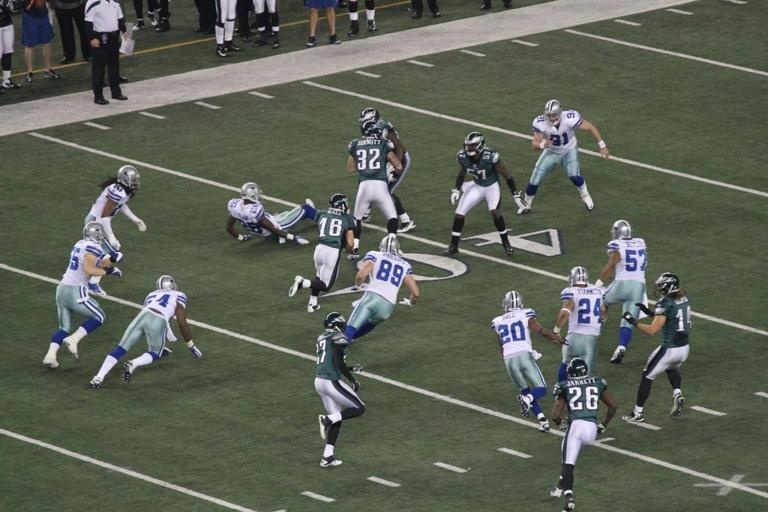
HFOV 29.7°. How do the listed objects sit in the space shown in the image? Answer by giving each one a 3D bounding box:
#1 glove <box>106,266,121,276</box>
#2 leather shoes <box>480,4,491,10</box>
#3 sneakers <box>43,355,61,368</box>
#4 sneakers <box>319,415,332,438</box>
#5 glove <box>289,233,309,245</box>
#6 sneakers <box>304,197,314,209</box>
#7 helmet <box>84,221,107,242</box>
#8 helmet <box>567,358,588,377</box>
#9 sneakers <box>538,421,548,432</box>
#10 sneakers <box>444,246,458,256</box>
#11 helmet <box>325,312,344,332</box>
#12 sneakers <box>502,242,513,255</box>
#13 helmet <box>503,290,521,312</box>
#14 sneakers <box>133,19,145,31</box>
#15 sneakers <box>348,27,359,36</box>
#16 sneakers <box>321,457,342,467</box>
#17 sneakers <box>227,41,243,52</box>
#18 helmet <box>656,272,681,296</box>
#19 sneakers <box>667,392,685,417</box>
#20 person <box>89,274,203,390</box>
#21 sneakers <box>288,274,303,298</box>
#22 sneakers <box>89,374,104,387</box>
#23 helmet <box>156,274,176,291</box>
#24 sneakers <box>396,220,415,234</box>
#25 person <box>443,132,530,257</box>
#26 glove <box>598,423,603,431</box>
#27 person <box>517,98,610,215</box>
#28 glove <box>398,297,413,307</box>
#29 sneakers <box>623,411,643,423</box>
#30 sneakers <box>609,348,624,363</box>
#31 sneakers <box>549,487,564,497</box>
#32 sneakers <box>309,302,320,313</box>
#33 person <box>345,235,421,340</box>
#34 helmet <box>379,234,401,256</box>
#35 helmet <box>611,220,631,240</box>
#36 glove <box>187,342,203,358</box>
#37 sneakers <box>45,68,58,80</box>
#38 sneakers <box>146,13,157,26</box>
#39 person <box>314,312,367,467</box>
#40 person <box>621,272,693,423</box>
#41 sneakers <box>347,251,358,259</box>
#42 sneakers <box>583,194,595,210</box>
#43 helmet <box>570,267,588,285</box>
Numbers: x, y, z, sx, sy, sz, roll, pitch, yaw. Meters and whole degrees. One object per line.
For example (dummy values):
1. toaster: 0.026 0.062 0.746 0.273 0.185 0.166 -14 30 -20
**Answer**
1. glove: -4.056 0.262 21.848 0.225 0.077 0.200 19 6 -17
2. leather shoes: 2.309 -5.701 33.279 0.207 0.162 0.261 1 14 2
3. sneakers: -4.872 1.536 21.298 0.216 0.234 0.309 -3 15 -13
4. sneakers: -0.799 2.295 19.529 0.197 0.318 0.125 -1 9 -1
5. glove: -1.455 -0.287 24.400 0.463 0.135 0.105 8 40 -24
6. sneakers: -1.296 -0.915 24.752 0.095 0.096 0.248 -11 34 5
7. helmet: -4.346 -0.359 21.647 0.299 0.272 0.321 2 5 5
8. helmet: 2.519 1.472 19.239 0.253 0.213 0.271 -5 15 0
9. sneakers: 2.193 2.346 20.040 0.146 0.133 0.165 4 4 -42
10. sneakers: 1.101 -0.098 24.122 0.249 0.170 0.174 0 15 -4
11. helmet: -0.637 0.897 19.795 0.310 0.203 0.216 1 1 -18
12. sneakers: 2.051 -0.131 24.124 0.165 0.223 0.252 2 14 5
13. helmet: 1.775 0.636 20.562 0.284 0.268 0.314 1 8 -5
14. sneakers: -5.583 -5.266 33.195 0.240 0.244 0.449 0 14 -4
15. sneakers: -0.688 -4.935 32.067 0.230 0.223 0.278 0 14 -4
16. sneakers: -0.728 2.751 19.413 0.323 0.115 0.117 -7 19 -32
17. sneakers: -3.128 -4.509 31.411 0.488 0.162 0.126 1 43 2
18. helmet: 3.961 0.403 20.359 0.420 0.279 0.282 11 -2 13
19. sneakers: 4.020 2.077 20.255 0.182 0.367 0.222 8 26 4
20. person: -3.420 1.099 21.025 1.540 1.522 0.731 -3 16 -13
21. sneakers: -1.390 0.485 22.722 0.139 0.344 0.156 32 -9 32
22. sneakers: -4.118 1.805 20.908 0.115 0.183 0.151 18 14 -26
23. helmet: -3.199 0.402 21.237 0.254 0.253 0.312 0 -7 40
24. sneakers: 0.381 -0.508 24.857 0.385 0.157 0.132 -24 18 24
25. person: 1.644 -1.096 24.340 1.145 2.007 1.298 2 16 5
26. glove: 2.907 2.306 19.641 0.075 0.066 0.076 7 56 7
27. person: 3.107 -1.752 25.337 1.192 1.920 1.200 10 18 29
28. glove: 0.331 0.700 21.770 0.110 0.094 0.257 5 5 -5
29. sneakers: 3.452 2.241 20.315 0.356 0.129 0.117 3 13 17
30. sneakers: 3.394 1.477 21.436 0.132 0.301 0.138 13 59 8
31. sneakers: 2.207 3.050 18.802 0.142 0.065 0.170 -1 8 0
32. sneakers: -1.104 0.809 22.712 0.093 0.126 0.221 12 22 29
33. person: -0.134 0.460 21.379 1.093 1.425 0.525 -7 18 -25
34. helmet: 0.092 -0.168 21.611 0.322 0.312 0.307 3 -17 5
35. helmet: 3.599 -0.410 22.071 0.290 0.254 0.331 -2 20 -8
36. glove: -2.791 1.392 21.442 0.284 0.152 0.117 40 37 -8
37. sneakers: -6.977 -3.817 30.443 0.153 0.179 0.441 -23 28 -37
38. sneakers: -5.305 -5.419 33.285 0.168 0.162 0.383 1 56 -13
39. person: -0.605 1.802 19.598 0.644 1.917 0.965 0 16 -2
40. person: 3.831 1.254 20.414 0.805 2.032 1.003 4 16 11
41. sneakers: -0.513 0.003 24.077 0.076 0.188 0.126 5 58 17
42. sneakers: 3.541 -0.914 25.233 0.133 0.331 0.157 -28 5 26
43. helmet: 2.741 0.285 20.886 0.269 0.257 0.297 3 12 -4
